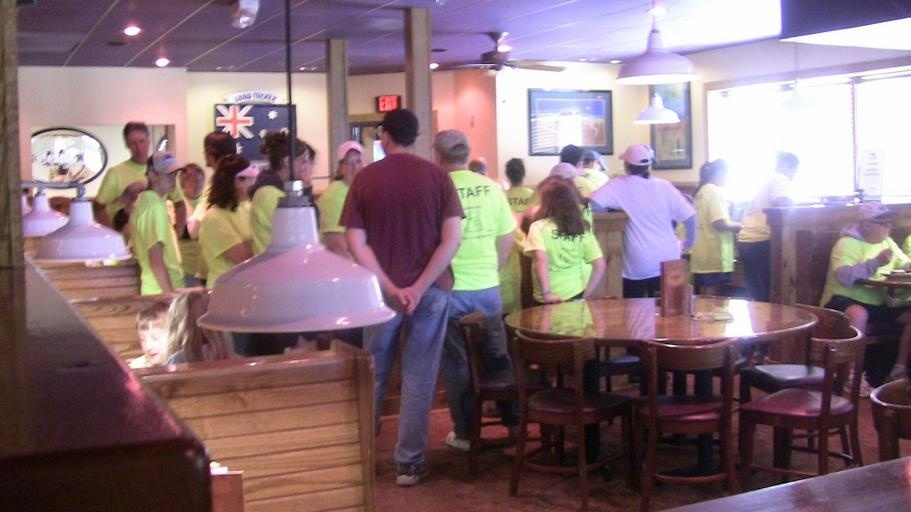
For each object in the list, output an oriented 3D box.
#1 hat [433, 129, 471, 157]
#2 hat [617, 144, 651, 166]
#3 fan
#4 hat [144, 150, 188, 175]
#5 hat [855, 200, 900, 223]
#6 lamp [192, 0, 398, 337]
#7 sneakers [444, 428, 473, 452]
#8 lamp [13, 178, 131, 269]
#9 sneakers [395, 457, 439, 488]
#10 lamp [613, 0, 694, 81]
[{"bbox_3d":[-0.029,-0.759,4.701,0.175,0.192,0.204,-2,13,-12],"label":"hat"},{"bbox_3d":[1.470,-0.811,5.762,0.234,0.159,0.305,-1,10,-9],"label":"hat"},{"bbox_3d":[0.635,-2.875,9.851,1.193,0.380,1.056,4,11,23],"label":"fan"},{"bbox_3d":[-2.026,-0.614,4.773,0.356,0.171,0.224,-3,5,11],"label":"hat"},{"bbox_3d":[3.418,-0.350,5.788,0.316,0.150,0.224,-1,5,39],"label":"hat"},{"bbox_3d":[-0.446,-0.060,1.874,0.483,0.494,0.212,0,9,14],"label":"lamp"},{"bbox_3d":[0.016,1.287,4.903,0.239,0.090,0.084,4,-4,21],"label":"sneakers"},{"bbox_3d":[-1.697,-0.150,3.293,0.525,0.307,0.409,-1,4,-18],"label":"lamp"},{"bbox_3d":[-0.237,1.340,4.381,0.104,0.119,0.286,1,3,25],"label":"sneakers"},{"bbox_3d":[1.671,-1.735,5.964,0.552,0.487,0.599,-3,9,-8],"label":"lamp"}]
